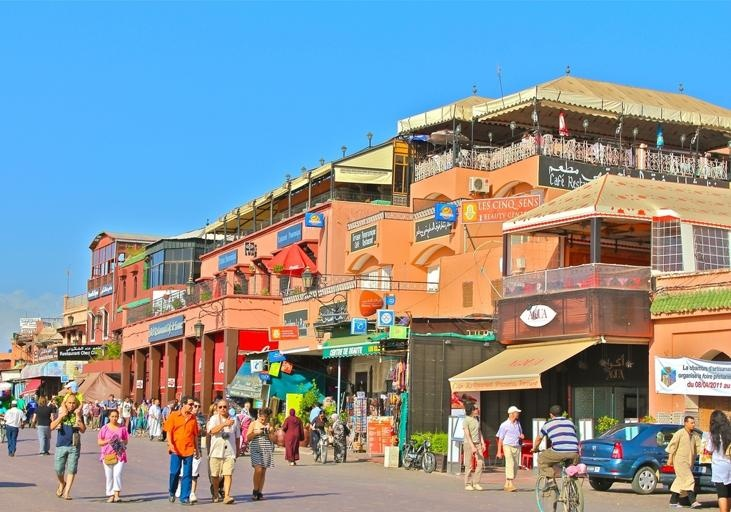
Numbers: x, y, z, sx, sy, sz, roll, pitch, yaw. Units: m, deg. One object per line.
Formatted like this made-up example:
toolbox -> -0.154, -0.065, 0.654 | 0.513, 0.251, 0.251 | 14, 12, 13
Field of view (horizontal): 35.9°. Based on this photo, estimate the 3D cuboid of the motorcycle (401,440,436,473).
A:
motorcycle -> 1.801, 6.519, 36.833 | 0.704, 0.748, 1.226 | 11, -15, -29

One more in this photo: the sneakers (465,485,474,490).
sneakers -> 2.867, 6.460, 31.420 | 0.230, 0.160, 0.291 | 0, -16, 1

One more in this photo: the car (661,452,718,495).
car -> 9.109, 6.074, 31.111 | 1.741, 0.899, 0.968 | 0, -3, -12

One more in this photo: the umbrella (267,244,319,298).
umbrella -> -3.167, 0.454, 54.866 | 2.661, 2.237, 2.473 | 6, -10, -41

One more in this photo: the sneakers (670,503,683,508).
sneakers -> 7.833, 6.327, 28.593 | 0.337, 0.110, 0.130 | 3, -7, -13

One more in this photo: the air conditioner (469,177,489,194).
air conditioner -> 4.824, -3.080, 48.388 | 1.086, 0.726, 0.439 | 16, -22, -42

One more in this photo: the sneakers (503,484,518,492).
sneakers -> 4.051, 6.462, 31.455 | 0.408, 0.209, 0.241 | 9, -19, -28

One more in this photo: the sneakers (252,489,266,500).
sneakers -> -2.782, 6.179, 29.207 | 0.214, 0.155, 0.381 | 4, -25, -5

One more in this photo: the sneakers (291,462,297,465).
sneakers -> -2.453, 7.012, 38.153 | 0.153, 0.075, 0.214 | 1, 1, 12

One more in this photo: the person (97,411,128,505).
person -> -6.495, 5.099, 28.825 | 0.709, 2.439, 1.360 | 4, -17, -12

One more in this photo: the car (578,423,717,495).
car -> 7.837, 5.728, 31.545 | 3.466, 1.435, 1.949 | -2, -2, -18

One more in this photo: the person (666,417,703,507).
person -> 8.085, 5.257, 28.743 | 0.830, 2.252, 1.329 | -3, -17, 13

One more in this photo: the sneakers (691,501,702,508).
sneakers -> 8.372, 6.320, 28.681 | 0.297, 0.120, 0.111 | -4, 0, -17

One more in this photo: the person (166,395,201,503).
person -> -4.679, 4.899, 28.460 | 0.836, 2.648, 0.870 | -3, -17, 12
